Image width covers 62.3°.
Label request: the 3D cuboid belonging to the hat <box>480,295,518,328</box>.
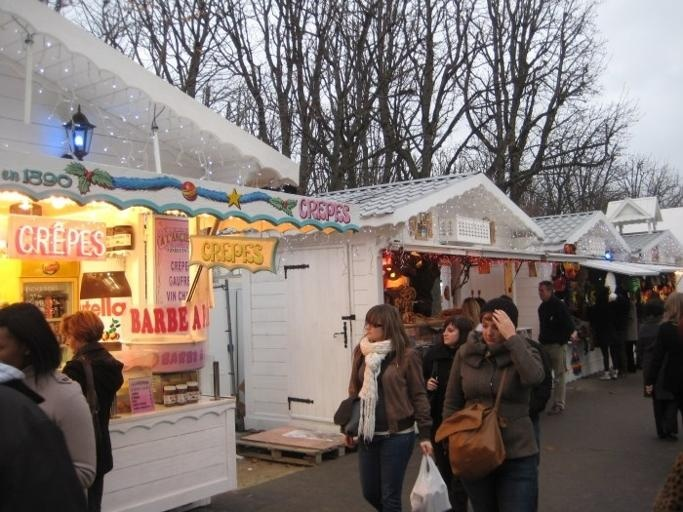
[{"bbox_3d":[1.223,0.408,4.438,0.277,0.243,0.218,21,-14,-27],"label":"hat"}]

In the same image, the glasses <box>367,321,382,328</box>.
[{"bbox_3d":[0.309,0.611,5.083,0.065,0.020,0.069,0,-30,33],"label":"glasses"}]

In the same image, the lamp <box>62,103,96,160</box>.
[{"bbox_3d":[-3.099,-1.480,6.834,0.337,0.712,0.285,-1,6,-26],"label":"lamp"}]
